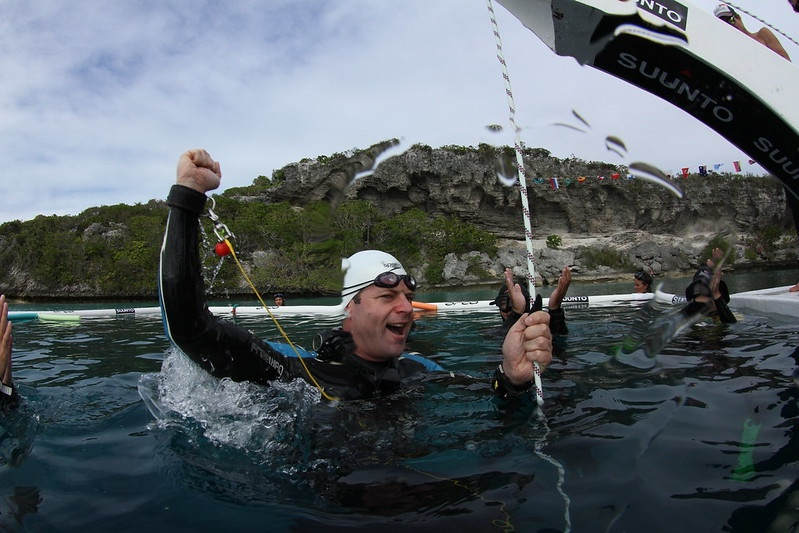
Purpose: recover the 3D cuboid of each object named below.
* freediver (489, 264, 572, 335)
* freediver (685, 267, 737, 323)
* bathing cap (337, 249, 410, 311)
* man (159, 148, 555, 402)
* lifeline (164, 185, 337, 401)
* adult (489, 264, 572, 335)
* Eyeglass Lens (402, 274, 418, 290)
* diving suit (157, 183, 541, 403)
[{"bbox_3d":[1.637,0.433,5.308,1.077,0.654,1.316,0,2,6],"label":"freediver"},{"bbox_3d":[3.103,0.202,4.675,0.516,0.241,0.695,21,25,34],"label":"freediver"},{"bbox_3d":[-0.246,0.113,3.536,0.539,0.406,0.377,-29,-14,10],"label":"bathing cap"},{"bbox_3d":[-0.422,0.649,3.984,1.051,1.521,3.735,-31,-38,23],"label":"man"},{"bbox_3d":[-1.150,0.166,3.020,0.774,1.402,0.264,-12,14,-35],"label":"lifeline"},{"bbox_3d":[1.654,0.487,5.448,1.077,0.654,1.316,0,2,6],"label":"adult"},{"bbox_3d":[0.087,0.118,3.425,0.108,0.109,0.052,23,40,-4],"label":"Eyeglass Lens"},{"bbox_3d":[-0.445,0.285,3.183,2.408,0.747,1.379,10,2,-1],"label":"diving suit"}]
